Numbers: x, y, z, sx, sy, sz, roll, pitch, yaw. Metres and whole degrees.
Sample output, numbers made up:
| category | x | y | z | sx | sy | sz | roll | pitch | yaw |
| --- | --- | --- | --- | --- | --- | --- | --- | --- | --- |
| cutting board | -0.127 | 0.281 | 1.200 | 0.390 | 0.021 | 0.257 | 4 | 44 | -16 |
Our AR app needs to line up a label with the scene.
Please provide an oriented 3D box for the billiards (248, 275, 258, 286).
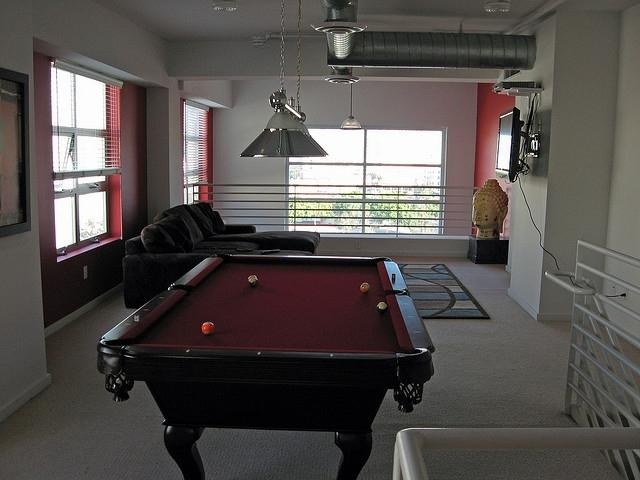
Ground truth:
| category | x | y | z | sx | sy | sz | roll | pitch | yaw |
| --- | --- | --- | --- | --- | --- | --- | --- | --- | --- |
| billiards | -0.429 | 0.265 | 3.128 | 0.056 | 0.053 | 0.060 | 27 | 37 | 34 |

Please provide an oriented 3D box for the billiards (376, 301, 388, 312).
| category | x | y | z | sx | sy | sz | roll | pitch | yaw |
| --- | --- | --- | --- | --- | --- | --- | --- | --- | --- |
| billiards | 0.347 | 0.370 | 2.671 | 0.044 | 0.034 | 0.046 | -3 | 18 | -2 |

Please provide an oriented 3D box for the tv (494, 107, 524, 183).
| category | x | y | z | sx | sy | sz | roll | pitch | yaw |
| --- | --- | --- | --- | --- | --- | --- | --- | --- | --- |
| tv | 2.285 | -1.046 | 5.595 | 0.135 | 0.721 | 0.951 | 2 | 2 | 19 |

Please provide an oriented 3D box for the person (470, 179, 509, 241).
| category | x | y | z | sx | sy | sz | roll | pitch | yaw |
| --- | --- | --- | --- | --- | --- | --- | --- | --- | --- |
| person | 2.793 | -0.502 | 7.852 | 0.527 | 0.974 | 0.349 | 4 | 14 | 11 |

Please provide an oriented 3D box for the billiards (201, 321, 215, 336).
| category | x | y | z | sx | sy | sz | roll | pitch | yaw |
| --- | --- | --- | --- | --- | --- | --- | --- | --- | --- |
| billiards | -0.556 | 0.434 | 2.386 | 0.060 | 0.061 | 0.060 | -7 | 4 | -27 |
